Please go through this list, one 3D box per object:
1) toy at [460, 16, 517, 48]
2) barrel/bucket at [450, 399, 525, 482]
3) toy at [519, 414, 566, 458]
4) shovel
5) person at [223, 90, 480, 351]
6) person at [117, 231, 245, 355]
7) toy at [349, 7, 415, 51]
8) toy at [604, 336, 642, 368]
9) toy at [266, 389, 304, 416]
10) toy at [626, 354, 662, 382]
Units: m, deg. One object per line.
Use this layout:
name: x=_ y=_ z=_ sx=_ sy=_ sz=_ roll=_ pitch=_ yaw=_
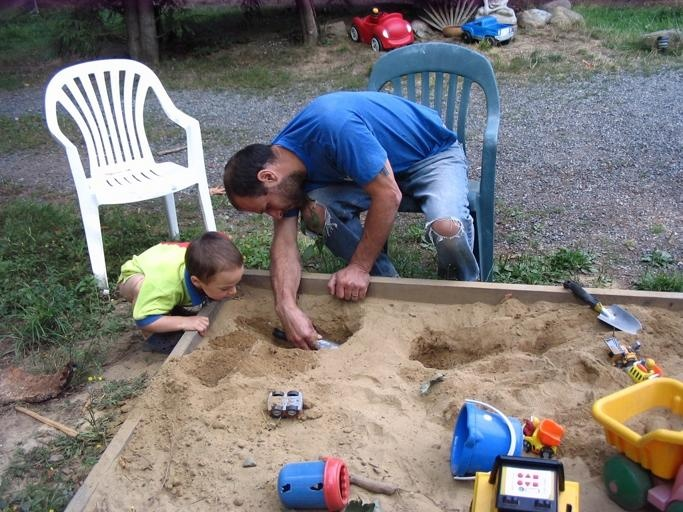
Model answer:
toy: x=2.120 y=-3.209 z=8.580 sx=0.681 sy=0.367 sz=0.431 roll=24 pitch=49 yaw=28
barrel/bucket: x=0.635 y=0.824 z=2.597 sx=0.261 sy=0.350 sz=0.359 roll=3 pitch=65 yaw=-5
toy: x=0.902 y=0.825 z=2.652 sx=0.191 sy=0.150 sz=0.137 roll=9 pitch=32 yaw=23
shovel: x=1.466 y=0.293 z=3.314 sx=0.147 sy=0.076 sz=0.472 roll=-27 pitch=40 yaw=-12
person: x=0.108 y=-0.418 z=3.753 sx=1.515 sy=1.206 sz=0.753 roll=-5 pitch=24 yaw=-3
person: x=-1.043 y=0.130 z=3.735 sx=0.669 sy=0.958 sz=0.812 roll=3 pitch=40 yaw=-22
toy: x=0.639 y=-3.452 z=8.916 sx=0.505 sy=0.578 sz=1.080 roll=-16 pitch=28 yaw=-26
toy: x=1.447 y=0.492 z=3.009 sx=0.155 sy=0.079 sz=0.130 roll=-16 pitch=36 yaw=-18
toy: x=-0.284 y=0.714 z=2.878 sx=0.143 sy=0.052 sz=0.117 roll=0 pitch=52 yaw=1
toy: x=1.462 y=0.546 z=2.836 sx=0.091 sy=0.098 sz=0.094 roll=0 pitch=21 yaw=-22
